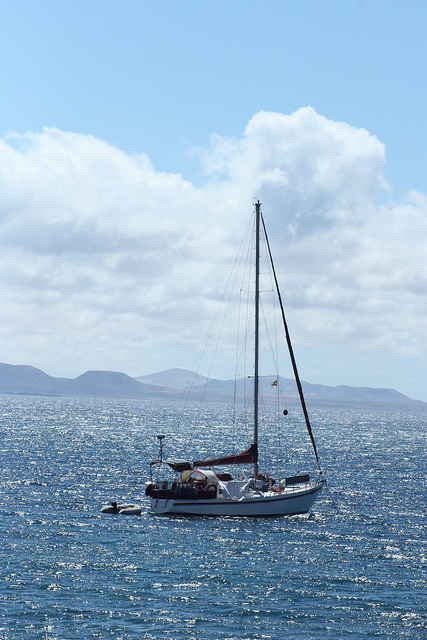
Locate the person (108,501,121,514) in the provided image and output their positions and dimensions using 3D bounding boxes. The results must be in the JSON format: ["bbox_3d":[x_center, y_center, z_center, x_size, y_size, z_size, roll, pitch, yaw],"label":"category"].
[{"bbox_3d":[-6.698,12.781,66.190,0.788,0.840,0.504,-2,-1,7],"label":"person"}]
